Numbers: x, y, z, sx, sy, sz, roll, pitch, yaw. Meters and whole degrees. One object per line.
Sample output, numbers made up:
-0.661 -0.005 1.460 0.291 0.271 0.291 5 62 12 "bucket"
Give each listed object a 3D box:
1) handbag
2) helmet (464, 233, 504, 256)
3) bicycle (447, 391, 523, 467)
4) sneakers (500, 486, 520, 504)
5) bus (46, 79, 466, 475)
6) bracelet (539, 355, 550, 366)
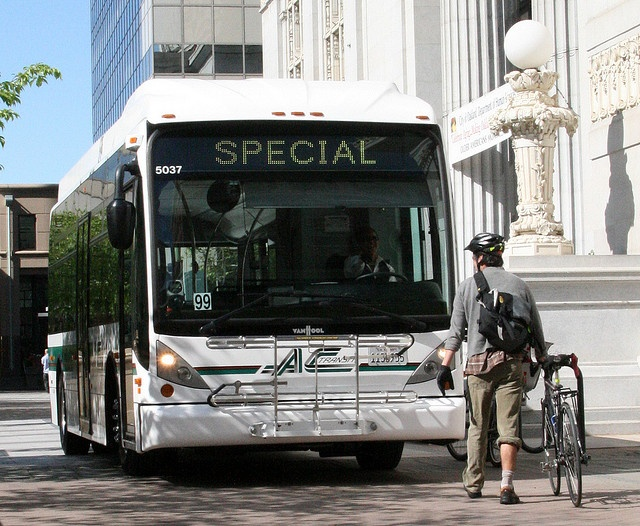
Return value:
1.501 0.411 7.878 0.422 0.688 0.232 -3 -4 8 "handbag"
1.394 -0.160 8.102 0.250 0.137 0.182 4 3 32 "helmet"
1.778 1.910 10.560 0.553 0.773 1.176 4 -10 -16 "bicycle"
1.544 1.881 7.744 0.164 0.148 0.151 -3 -4 4 "sneakers"
-1.299 0.508 11.740 2.077 2.950 6.590 2 -9 -15 "bus"
1.936 0.849 8.205 0.084 0.095 0.053 -4 -3 35 "bracelet"
